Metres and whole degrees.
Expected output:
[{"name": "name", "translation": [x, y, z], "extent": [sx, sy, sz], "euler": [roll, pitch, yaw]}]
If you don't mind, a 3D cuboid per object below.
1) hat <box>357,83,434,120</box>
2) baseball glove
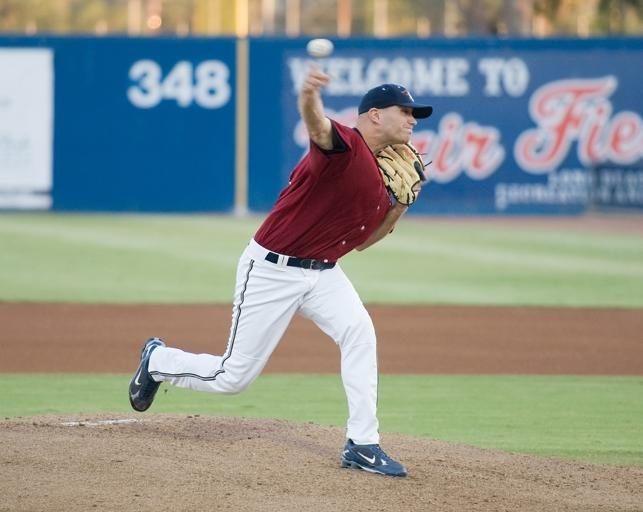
[{"name": "hat", "translation": [0.661, -1.516, 14.083], "extent": [0.661, 0.299, 0.391], "euler": [-2, 1, 2]}, {"name": "baseball glove", "translation": [0.745, -0.807, 14.150], "extent": [0.481, 0.609, 0.200], "euler": [-40, 12, -27]}]
